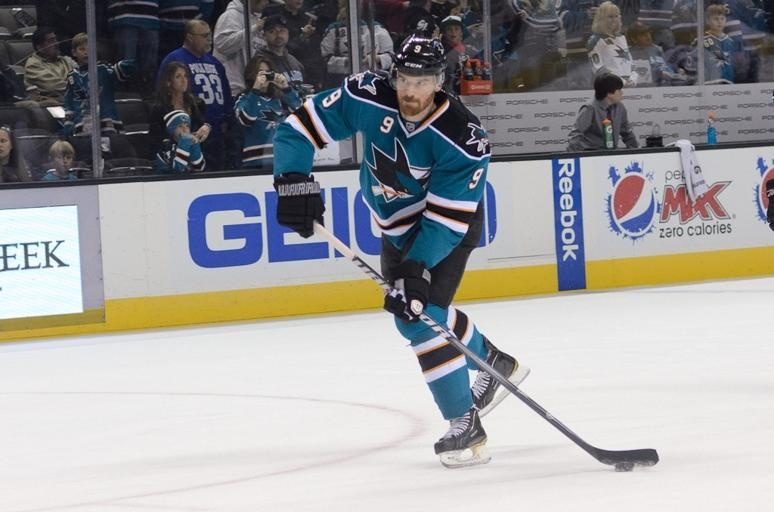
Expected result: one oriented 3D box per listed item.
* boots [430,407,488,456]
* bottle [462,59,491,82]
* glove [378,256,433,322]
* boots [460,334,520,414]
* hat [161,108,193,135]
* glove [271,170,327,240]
[{"bbox_3d":[0.462,1.065,6.924,0.378,0.233,0.127,-12,1,-39],"label":"boots"},{"bbox_3d":[0.877,-1.769,10.941,0.281,0.254,0.160,-2,23,-2],"label":"bottle"},{"bbox_3d":[0.136,0.211,6.816,0.277,0.357,0.165,-2,7,0],"label":"glove"},{"bbox_3d":[0.682,0.731,7.373,0.460,0.140,0.183,-7,48,-48],"label":"boots"},{"bbox_3d":[-1.804,-1.140,9.926,0.244,0.207,0.204,-10,14,43],"label":"hat"},{"bbox_3d":[-0.518,-0.309,6.932,0.312,0.381,0.156,2,1,2],"label":"glove"}]
